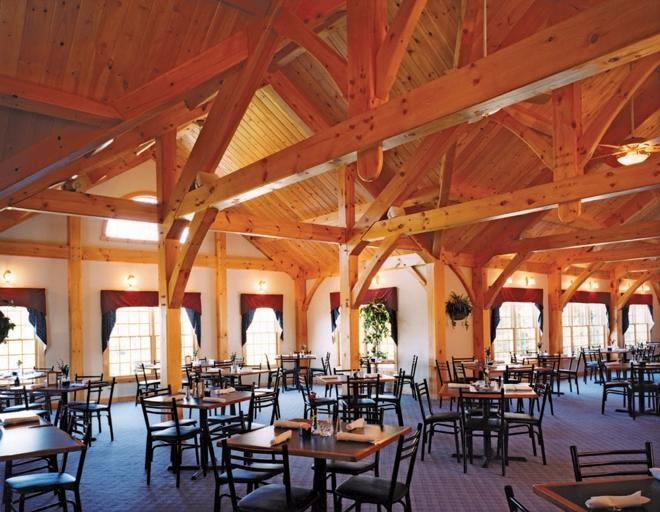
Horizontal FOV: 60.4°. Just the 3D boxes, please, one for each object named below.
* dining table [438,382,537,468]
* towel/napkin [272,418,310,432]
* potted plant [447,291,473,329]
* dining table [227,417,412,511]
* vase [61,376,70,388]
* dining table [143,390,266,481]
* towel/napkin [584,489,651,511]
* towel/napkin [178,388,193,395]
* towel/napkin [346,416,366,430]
[{"bbox_3d":[2.100,2.224,7.776,1.283,1.158,1.325,-1,-2,15],"label":"dining table"},{"bbox_3d":[-0.403,1.741,5.792,0.234,0.058,0.242,-1,-6,19],"label":"towel/napkin"},{"bbox_3d":[2.860,1.191,12.594,0.366,0.782,0.854,-11,-14,40],"label":"potted plant"},{"bbox_3d":[-0.134,1.791,5.367,1.091,0.717,1.127,-2,-3,17],"label":"dining table"},{"bbox_3d":[-4.130,2.005,8.873,0.128,0.199,0.134,5,-10,-27],"label":"vase"},{"bbox_3d":[-1.804,2.260,7.239,1.280,0.842,1.319,0,-1,18],"label":"dining table"},{"bbox_3d":[2.063,1.780,4.070,0.508,0.100,0.147,1,-11,-12],"label":"towel/napkin"},{"bbox_3d":[-1.979,1.883,7.774,0.234,0.078,0.241,2,-5,-2],"label":"towel/napkin"},{"bbox_3d":[0.257,1.703,5.704,0.112,0.066,0.159,-4,-3,25],"label":"towel/napkin"}]
